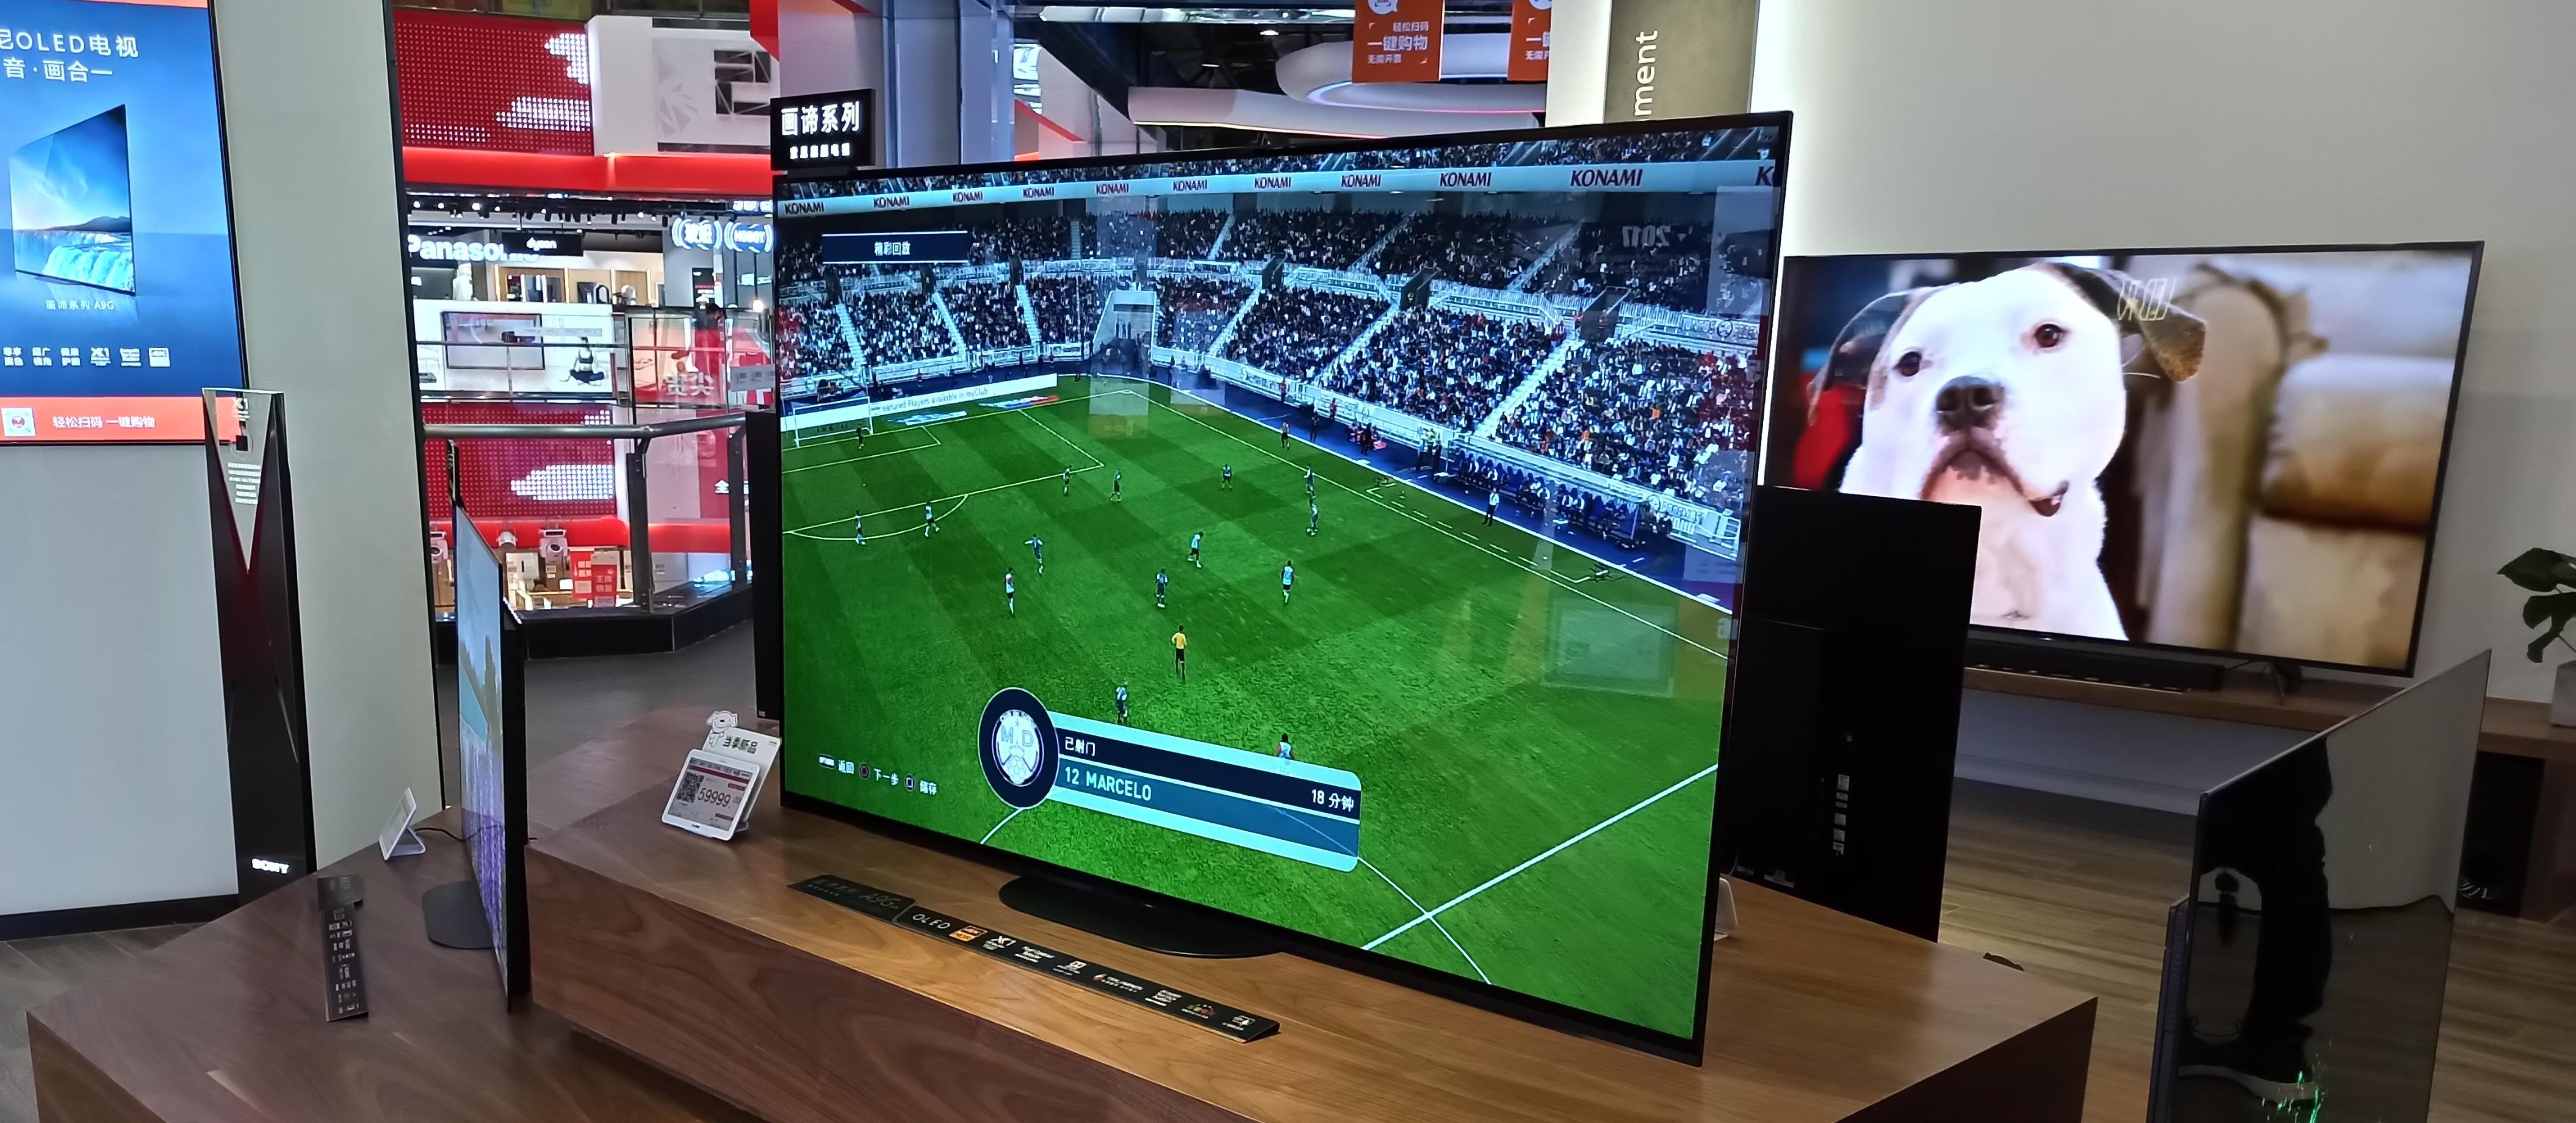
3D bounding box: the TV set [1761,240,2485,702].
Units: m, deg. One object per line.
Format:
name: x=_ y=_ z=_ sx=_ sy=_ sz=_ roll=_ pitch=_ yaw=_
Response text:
TV set: x=4.543 y=-0.437 z=7.517 sx=3.297 sy=1.653 sz=0.473 roll=4 pitch=8 yaw=18
